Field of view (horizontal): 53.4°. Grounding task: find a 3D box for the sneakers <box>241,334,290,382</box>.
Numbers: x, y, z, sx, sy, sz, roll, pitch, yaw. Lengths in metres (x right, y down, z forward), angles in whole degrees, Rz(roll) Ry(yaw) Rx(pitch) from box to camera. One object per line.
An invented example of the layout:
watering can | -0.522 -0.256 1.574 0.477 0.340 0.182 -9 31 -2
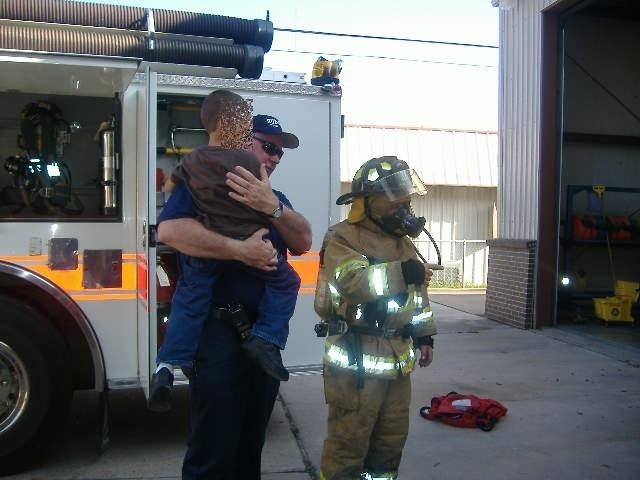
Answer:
sneakers | -0.325 0.715 3.787 0.261 0.312 0.157 0 8 0

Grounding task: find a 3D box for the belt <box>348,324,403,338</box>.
belt | 0.372 0.618 4.273 0.358 0.069 0.043 1 8 4

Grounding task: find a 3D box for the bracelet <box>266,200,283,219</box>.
bracelet | -0.261 -0.178 3.888 0.093 0.112 0.103 4 16 -33

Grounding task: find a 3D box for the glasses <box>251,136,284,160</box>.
glasses | -0.328 -0.616 4.244 0.143 0.044 0.137 32 2 41

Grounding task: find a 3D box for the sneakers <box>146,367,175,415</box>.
sneakers | -0.923 0.884 3.690 0.124 0.267 0.099 -10 -22 20

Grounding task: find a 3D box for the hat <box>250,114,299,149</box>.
hat | -0.303 -0.777 4.292 0.294 0.161 0.193 27 7 13

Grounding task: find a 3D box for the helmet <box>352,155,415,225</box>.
helmet | 0.415 -0.352 4.312 0.453 0.399 0.368 6 6 33
